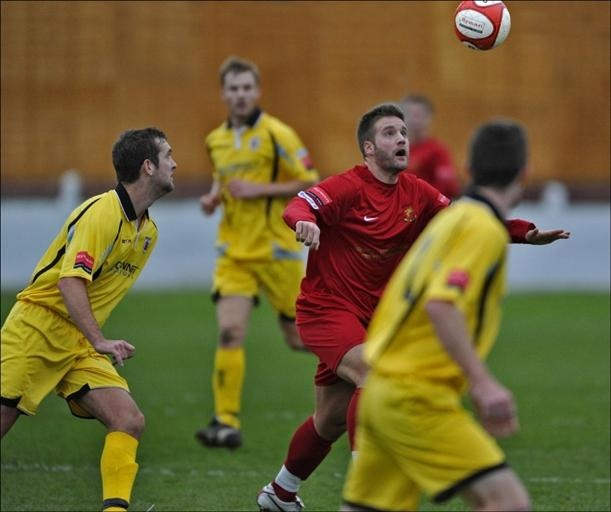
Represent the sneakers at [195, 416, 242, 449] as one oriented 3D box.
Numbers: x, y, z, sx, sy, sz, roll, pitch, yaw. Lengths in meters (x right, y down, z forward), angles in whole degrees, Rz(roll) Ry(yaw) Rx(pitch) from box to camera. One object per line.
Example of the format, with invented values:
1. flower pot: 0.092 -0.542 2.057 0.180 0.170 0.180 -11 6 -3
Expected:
1. sneakers: -0.628 1.342 8.059 0.376 0.309 0.155 6 -22 -5
